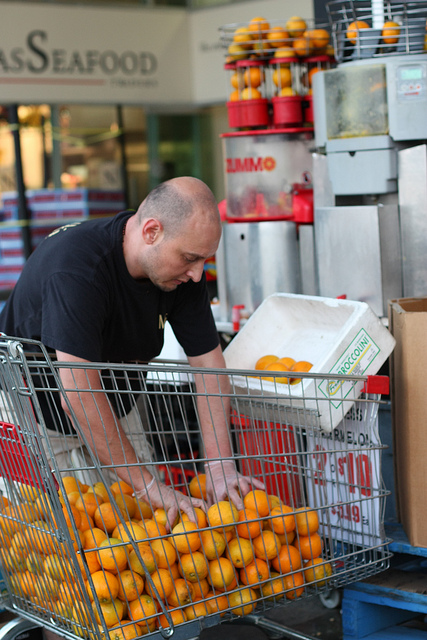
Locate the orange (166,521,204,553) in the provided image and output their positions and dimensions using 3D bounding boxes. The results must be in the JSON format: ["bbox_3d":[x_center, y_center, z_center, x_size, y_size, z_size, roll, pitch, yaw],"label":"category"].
[{"bbox_3d":[-0.057,0.464,1.278,0.078,0.066,0.050,-10,13,-8],"label":"orange"}]

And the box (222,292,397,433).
[{"bbox_3d":[0.286,0.072,1.801,0.389,0.167,0.498,-19,21,34],"label":"box"}]

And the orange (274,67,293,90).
[{"bbox_3d":[0.349,-1.277,3.189,0.102,0.115,0.099,0,15,-2],"label":"orange"}]

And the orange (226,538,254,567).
[{"bbox_3d":[0.059,0.502,1.306,0.058,0.059,0.070,-10,8,11],"label":"orange"}]

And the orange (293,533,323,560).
[{"bbox_3d":[0.213,0.532,1.424,0.059,0.068,0.061,-11,-32,25],"label":"orange"}]
